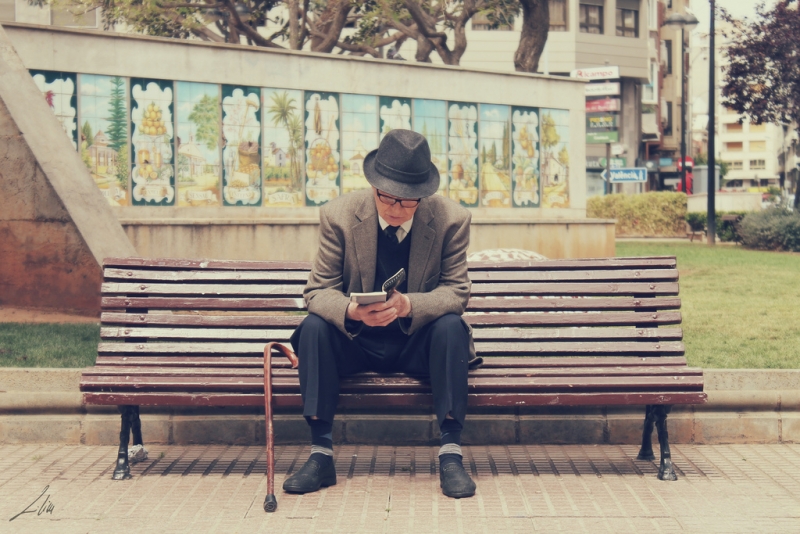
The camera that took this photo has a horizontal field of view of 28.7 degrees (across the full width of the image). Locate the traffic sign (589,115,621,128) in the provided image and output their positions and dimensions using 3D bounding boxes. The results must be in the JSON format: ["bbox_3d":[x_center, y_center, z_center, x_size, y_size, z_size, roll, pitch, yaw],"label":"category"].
[{"bbox_3d":[8.476,-6.151,65.684,1.263,0.632,1.443,-2,9,6],"label":"traffic sign"}]

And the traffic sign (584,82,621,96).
[{"bbox_3d":[8.292,-7.243,63.589,1.942,0.421,1.802,2,5,20],"label":"traffic sign"}]

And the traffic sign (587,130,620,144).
[{"bbox_3d":[8.276,-5.385,64.761,0.668,0.479,1.522,-8,11,-28],"label":"traffic sign"}]
